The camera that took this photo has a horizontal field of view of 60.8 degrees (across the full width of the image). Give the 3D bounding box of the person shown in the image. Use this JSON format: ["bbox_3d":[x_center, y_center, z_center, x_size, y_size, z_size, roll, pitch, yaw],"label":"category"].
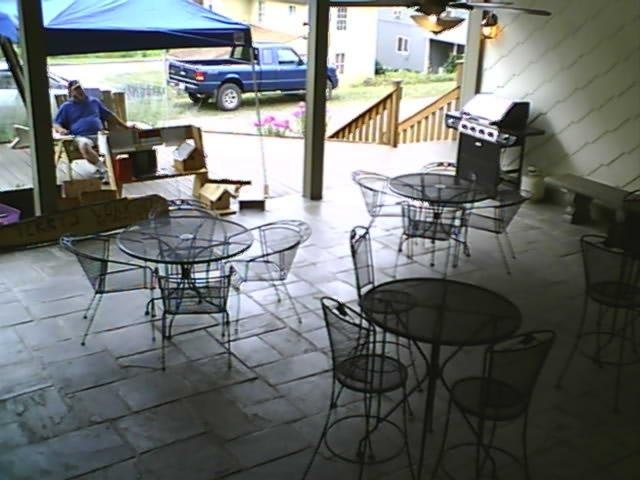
[{"bbox_3d":[-3.160,-1.544,7.464,0.992,0.934,1.457,-12,39,-26],"label":"person"}]
